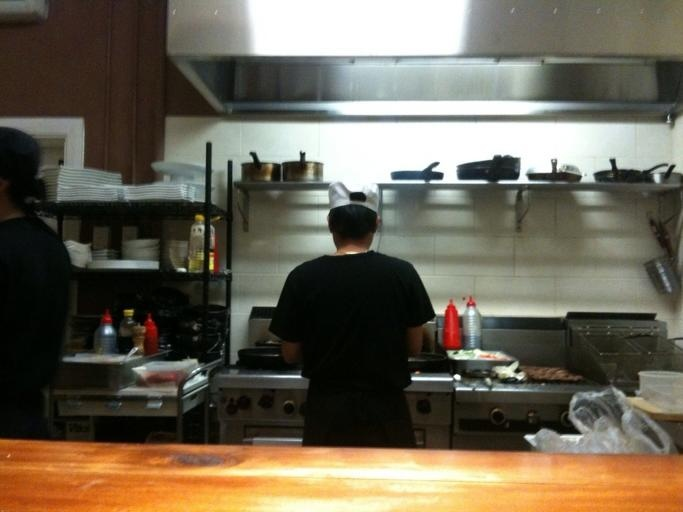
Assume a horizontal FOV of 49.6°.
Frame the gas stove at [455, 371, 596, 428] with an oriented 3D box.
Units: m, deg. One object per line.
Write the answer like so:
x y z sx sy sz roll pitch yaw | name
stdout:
0.861 0.748 3.786 0.824 0.268 0.540 3 2 -15 | gas stove

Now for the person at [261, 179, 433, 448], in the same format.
0.053 0.491 3.215 0.778 1.549 0.561 -1 7 -4 | person

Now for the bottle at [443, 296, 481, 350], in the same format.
0.677 0.373 4.094 0.181 0.291 0.306 -2 -5 39 | bottle

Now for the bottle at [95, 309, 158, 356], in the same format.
-1.095 0.404 3.775 0.233 0.166 0.081 2 -10 -16 | bottle

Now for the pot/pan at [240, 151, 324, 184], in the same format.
-0.314 -0.452 3.992 0.204 0.117 0.334 1 2 33 | pot/pan
